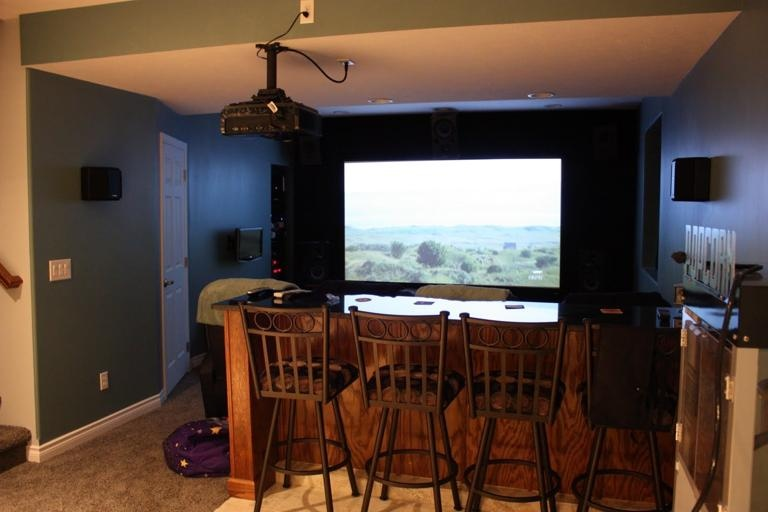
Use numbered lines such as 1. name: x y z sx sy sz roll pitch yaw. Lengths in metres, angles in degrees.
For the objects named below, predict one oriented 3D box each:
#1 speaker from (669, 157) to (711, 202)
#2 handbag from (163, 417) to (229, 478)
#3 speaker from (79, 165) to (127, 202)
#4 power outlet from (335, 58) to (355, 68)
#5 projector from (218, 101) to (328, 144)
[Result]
1. speaker: 2.129 -0.532 4.024 0.126 0.308 0.323 -3 6 -20
2. handbag: -1.409 1.488 4.598 0.642 0.304 0.561 5 6 -1
3. speaker: -2.363 -0.605 4.884 0.303 0.285 0.182 8 7 32
4. power outlet: -0.290 -1.482 4.404 0.129 0.032 0.123 0 5 8
5. projector: -0.829 -1.002 4.201 0.662 0.283 0.320 1 6 11
